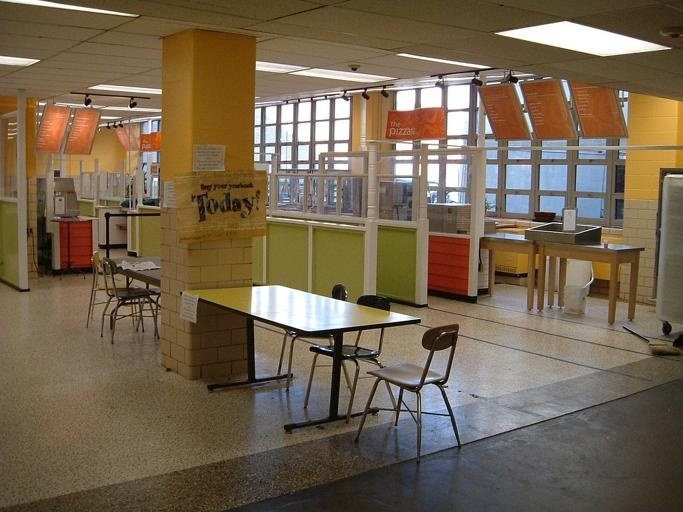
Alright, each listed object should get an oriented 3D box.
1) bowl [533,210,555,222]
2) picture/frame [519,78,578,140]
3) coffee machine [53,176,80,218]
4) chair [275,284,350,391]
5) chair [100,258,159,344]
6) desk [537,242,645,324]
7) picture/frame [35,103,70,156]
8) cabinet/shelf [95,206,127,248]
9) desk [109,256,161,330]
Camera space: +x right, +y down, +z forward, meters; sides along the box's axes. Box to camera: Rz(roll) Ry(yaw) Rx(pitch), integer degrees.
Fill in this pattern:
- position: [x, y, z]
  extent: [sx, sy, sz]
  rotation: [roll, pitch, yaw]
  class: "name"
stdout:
- position: [3.454, -0.648, 9.330]
  extent: [0.266, 0.109, 0.256]
  rotation: [1, 1, 0]
  class: "bowl"
- position: [2.979, -2.099, 7.974]
  extent: [0.434, 0.821, 0.699]
  rotation: [-4, 10, -30]
  class: "picture/frame"
- position: [-5.786, -1.226, 11.692]
  extent: [0.455, 0.816, 0.661]
  rotation: [-4, 10, -27]
  class: "coffee machine"
- position: [-0.204, 0.787, 5.620]
  extent: [0.604, 0.941, 0.519]
  rotation: [-12, 18, -19]
  class: "chair"
- position: [-2.711, 0.572, 7.299]
  extent: [0.733, 1.048, 0.777]
  rotation: [6, 6, 34]
  class: "chair"
- position: [3.771, 0.349, 8.497]
  extent: [0.930, 1.145, 1.368]
  rotation: [-7, 11, -40]
  class: "desk"
- position: [-5.702, -2.508, 11.035]
  extent: [0.560, 0.883, 0.512]
  rotation: [-7, 12, -40]
  class: "picture/frame"
- position: [-6.142, -0.714, 15.111]
  extent: [0.812, 0.807, 0.832]
  rotation: [-10, -2, 21]
  class: "cabinet/shelf"
- position: [-2.762, 0.546, 7.308]
  extent: [0.679, 0.946, 0.590]
  rotation: [4, -1, -39]
  class: "desk"
